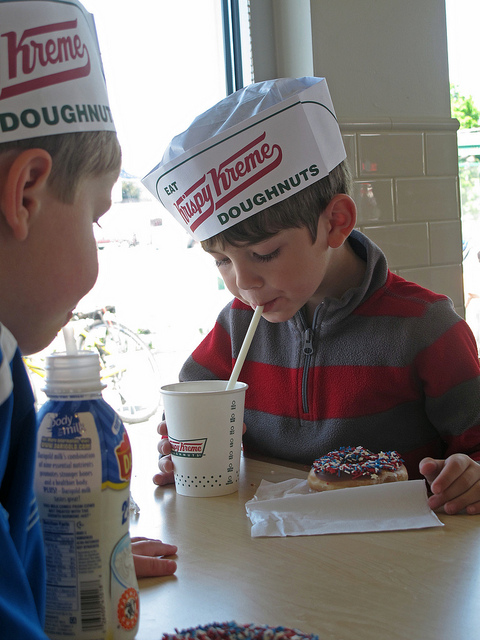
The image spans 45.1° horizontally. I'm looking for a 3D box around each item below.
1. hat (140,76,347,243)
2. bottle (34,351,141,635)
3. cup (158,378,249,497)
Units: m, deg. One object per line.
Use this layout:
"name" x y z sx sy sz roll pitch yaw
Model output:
"hat" 0.028 -0.254 0.989 0.325 0.261 0.188 1 11 12
"bottle" -0.105 0.119 0.437 0.073 0.188 0.075 4 5 0
"cup" -0.052 0.186 0.881 0.138 0.154 0.140 -3 -4 0
